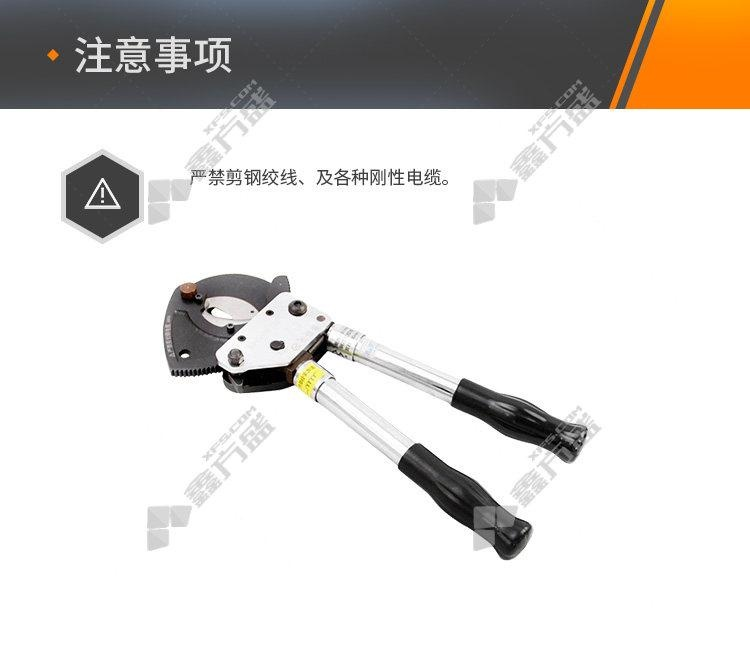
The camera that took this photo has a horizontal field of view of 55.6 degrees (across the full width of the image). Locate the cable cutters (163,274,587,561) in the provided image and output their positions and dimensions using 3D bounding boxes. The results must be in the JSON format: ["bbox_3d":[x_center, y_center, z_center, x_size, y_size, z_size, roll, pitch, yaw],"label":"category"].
[{"bbox_3d":[-0.134,0.186,2.693,1.745,0.488,0.657,32,63,14],"label":"cable cutters"}]
